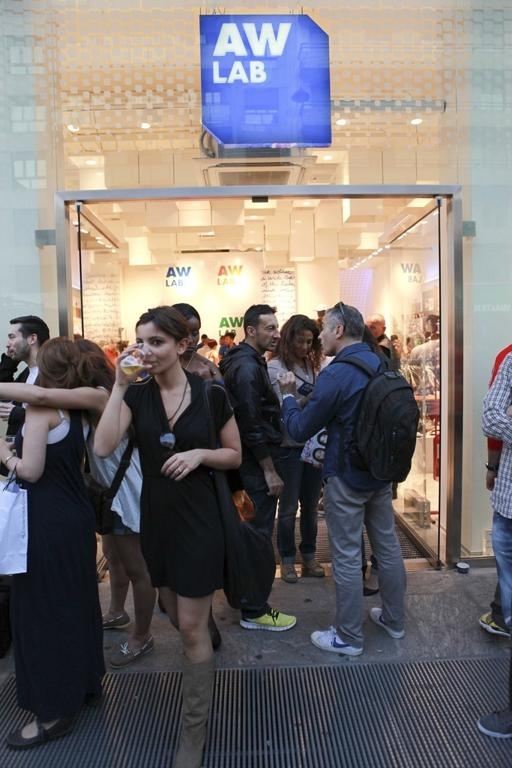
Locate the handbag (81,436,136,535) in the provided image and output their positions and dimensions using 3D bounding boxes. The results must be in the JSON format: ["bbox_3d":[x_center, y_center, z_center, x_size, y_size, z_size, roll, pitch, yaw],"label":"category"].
[{"bbox_3d":[-0.578,0.433,2.568,0.192,0.383,0.282,1,4,-11],"label":"handbag"}]

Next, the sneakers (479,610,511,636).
[{"bbox_3d":[1.136,1.142,2.810,0.052,0.064,0.137,-2,17,-27],"label":"sneakers"}]

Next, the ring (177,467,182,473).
[{"bbox_3d":[-0.234,0.264,1.814,0.011,0.016,0.007,-8,12,-5],"label":"ring"}]

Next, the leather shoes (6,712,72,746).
[{"bbox_3d":[-0.767,1.194,2.088,0.197,0.078,0.082,-6,13,-27],"label":"leather shoes"}]

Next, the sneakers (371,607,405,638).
[{"bbox_3d":[0.644,1.155,2.871,0.062,0.067,0.181,-7,16,-19],"label":"sneakers"}]

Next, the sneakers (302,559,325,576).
[{"bbox_3d":[0.350,1.127,3.632,0.062,0.072,0.182,1,-6,-18],"label":"sneakers"}]

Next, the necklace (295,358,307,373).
[{"bbox_3d":[0.275,-0.107,3.599,0.063,0.066,0.089,0,-10,3],"label":"necklace"}]

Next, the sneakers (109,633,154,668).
[{"bbox_3d":[-0.550,1.172,2.612,0.069,0.063,0.177,-1,1,35],"label":"sneakers"}]

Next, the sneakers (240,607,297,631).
[{"bbox_3d":[0.068,1.162,2.967,0.248,0.115,0.105,0,-3,1],"label":"sneakers"}]

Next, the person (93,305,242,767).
[{"bbox_3d":[-0.270,0.508,1.937,0.473,1.511,0.269,-2,3,-16],"label":"person"}]

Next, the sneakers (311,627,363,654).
[{"bbox_3d":[0.365,1.149,2.711,0.224,0.103,0.091,9,8,28],"label":"sneakers"}]

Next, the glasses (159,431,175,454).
[{"bbox_3d":[-0.277,0.182,1.846,0.054,0.048,0.067,-9,-20,5],"label":"glasses"}]

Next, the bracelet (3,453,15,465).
[{"bbox_3d":[-0.881,0.272,2.097,0.039,0.014,0.033,-37,16,0],"label":"bracelet"}]

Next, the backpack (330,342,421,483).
[{"bbox_3d":[0.544,0.139,2.615,0.297,0.465,0.480,-1,15,-22],"label":"backpack"}]

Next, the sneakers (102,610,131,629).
[{"bbox_3d":[-0.681,1.155,2.890,0.164,0.064,0.059,2,-12,-8],"label":"sneakers"}]

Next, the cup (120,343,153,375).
[{"bbox_3d":[-0.353,-0.072,1.806,0.093,0.088,0.076,19,20,-9],"label":"cup"}]
